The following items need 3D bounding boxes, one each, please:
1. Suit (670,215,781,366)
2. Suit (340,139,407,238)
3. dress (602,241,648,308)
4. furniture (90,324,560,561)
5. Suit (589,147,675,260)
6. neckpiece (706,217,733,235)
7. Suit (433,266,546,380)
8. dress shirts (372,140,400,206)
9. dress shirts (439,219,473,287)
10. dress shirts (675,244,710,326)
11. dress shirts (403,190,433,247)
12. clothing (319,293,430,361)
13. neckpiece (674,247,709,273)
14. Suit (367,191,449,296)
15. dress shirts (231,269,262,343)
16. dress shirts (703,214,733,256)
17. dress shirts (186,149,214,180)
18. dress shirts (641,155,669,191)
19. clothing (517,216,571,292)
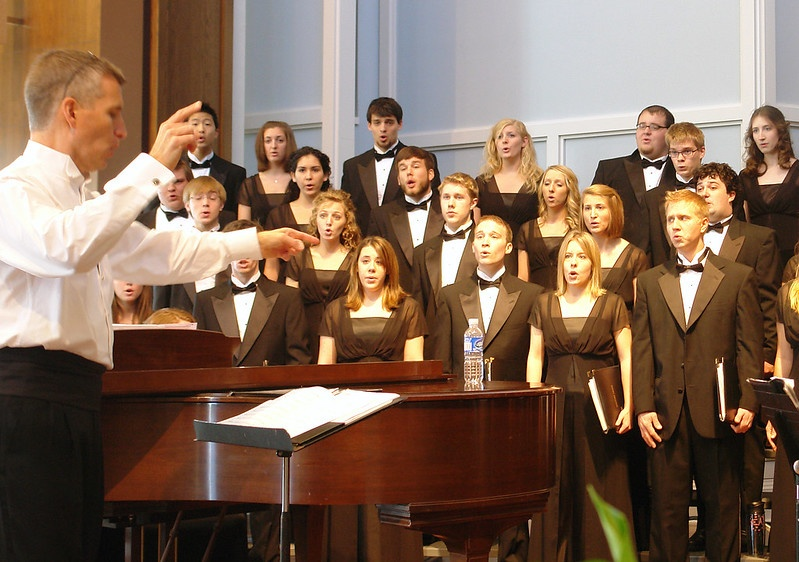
[{"bbox_3d":[1.799,0.082,5.066,0.648,0.948,0.343,-6,-17,27],"label":"Suit"},{"bbox_3d":[-0.173,-0.640,6.716,0.575,0.631,0.180,-3,-10,35],"label":"Suit"},{"bbox_3d":[1.323,-0.021,5.395,0.329,0.368,0.180,-1,-13,25],"label":"dress"},{"bbox_3d":[-0.329,0.653,3.881,1.400,0.716,1.037,-1,-2,-3],"label":"furniture"},{"bbox_3d":[1.569,-0.581,6.339,0.619,0.670,0.216,-3,-13,38],"label":"Suit"},{"bbox_3d":[1.919,-0.324,5.482,0.118,0.058,0.103,-1,-9,-33],"label":"neckpiece"},{"bbox_3d":[0.523,0.267,5.297,0.552,0.682,0.239,1,-16,11],"label":"Suit"},{"bbox_3d":[-0.108,-0.798,6.649,0.246,0.385,0.090,-3,-11,35],"label":"dress shirts"},{"bbox_3d":[0.345,-0.165,5.753,0.214,0.334,0.078,-4,-18,32],"label":"dress shirts"},{"bbox_3d":[1.605,0.003,5.047,0.093,0.398,0.185,4,-2,-18],"label":"dress shirts"},{"bbox_3d":[0.128,-0.412,6.088,0.186,0.293,0.082,-3,-8,12],"label":"dress shirts"},{"bbox_3d":[-0.168,0.134,5.340,0.617,0.532,0.338,-1,-10,4],"label":"clothing"},{"bbox_3d":[1.607,-0.113,5.059,0.118,0.083,0.159,-7,-5,34],"label":"neckpiece"},{"bbox_3d":[0.027,-0.225,6.150,0.555,0.611,0.155,-8,-13,13],"label":"Suit"},{"bbox_3d":[-0.924,0.148,5.659,0.228,0.436,0.109,-6,-13,23],"label":"dress shirts"},{"bbox_3d":[1.905,-0.274,5.531,0.191,0.298,0.085,13,-3,-12],"label":"dress shirts"},{"bbox_3d":[-1.535,-0.892,7.047,0.205,0.311,0.109,-1,-4,2],"label":"dress shirts"},{"bbox_3d":[1.772,-0.761,6.371,0.193,0.290,0.107,2,-15,24],"label":"dress shirts"},{"bbox_3d":[0.912,-0.156,5.700,0.418,0.581,0.199,-1,-5,24],"label":"clothing"}]
